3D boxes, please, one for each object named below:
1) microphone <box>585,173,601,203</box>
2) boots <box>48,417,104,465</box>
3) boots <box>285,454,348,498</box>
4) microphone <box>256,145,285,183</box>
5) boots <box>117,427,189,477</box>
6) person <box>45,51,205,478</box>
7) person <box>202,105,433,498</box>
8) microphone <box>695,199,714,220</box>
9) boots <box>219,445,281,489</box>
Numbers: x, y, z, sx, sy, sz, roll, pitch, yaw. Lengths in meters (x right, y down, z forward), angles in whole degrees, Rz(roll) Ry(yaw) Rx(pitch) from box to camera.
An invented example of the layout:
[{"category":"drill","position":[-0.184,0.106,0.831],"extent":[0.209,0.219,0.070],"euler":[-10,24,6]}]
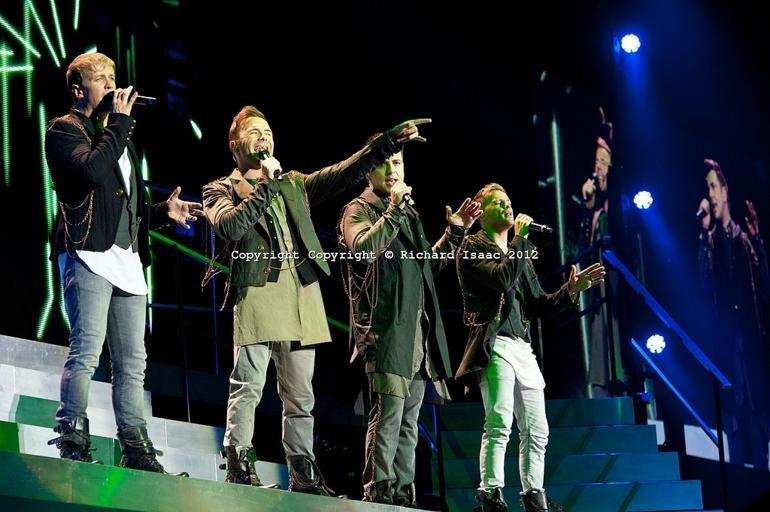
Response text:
[{"category":"microphone","position":[2.136,-0.695,8.645],"extent":[0.084,0.224,0.240],"euler":[13,7,-11]},{"category":"boots","position":[-1.913,1.116,5.100],"extent":[0.310,0.324,0.246],"euler":[0,-15,7]},{"category":"boots","position":[-0.453,1.468,5.485],"extent":[0.388,0.346,0.165],"euler":[6,13,13]},{"category":"microphone","position":[-0.776,-0.603,5.586],"extent":[0.098,0.332,0.104],"euler":[-33,-25,10]},{"category":"boots","position":[-1.460,1.231,5.222],"extent":[0.447,0.314,0.153],"euler":[12,14,11]},{"category":"person","position":[-1.780,0.008,5.339],"extent":[0.588,2.618,0.902],"euler":[-11,-21,36]},{"category":"person","position":[-0.678,0.237,5.602],"extent":[1.187,2.580,0.561],"euler":[6,-17,-14]},{"category":"microphone","position":[3.141,-0.448,8.260],"extent":[0.125,0.215,0.058],"euler":[5,-1,-17]},{"category":"boots","position":[-0.868,1.338,5.340],"extent":[0.403,0.258,0.299],"euler":[3,-17,-6]}]
